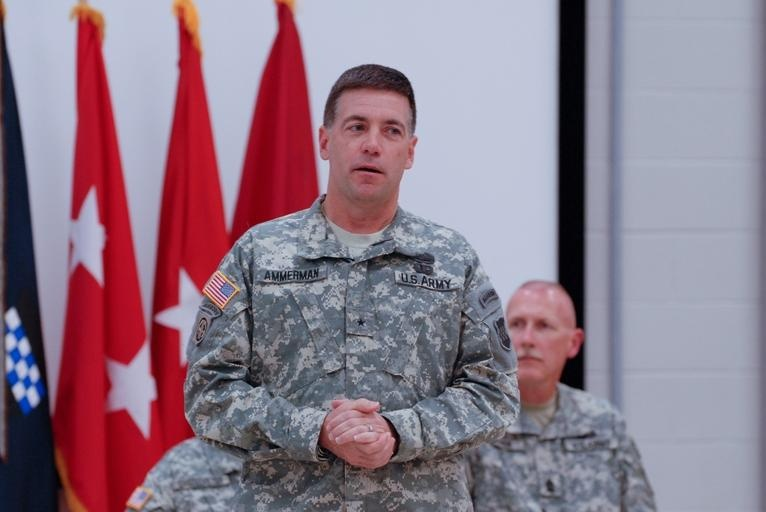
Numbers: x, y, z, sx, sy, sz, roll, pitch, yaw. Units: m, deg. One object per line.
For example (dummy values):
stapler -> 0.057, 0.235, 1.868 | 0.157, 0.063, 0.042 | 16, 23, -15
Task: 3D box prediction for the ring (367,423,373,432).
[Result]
ring -> -0.050, 0.654, 5.758 | 0.019, 0.029, 0.026 | 3, -15, -4
